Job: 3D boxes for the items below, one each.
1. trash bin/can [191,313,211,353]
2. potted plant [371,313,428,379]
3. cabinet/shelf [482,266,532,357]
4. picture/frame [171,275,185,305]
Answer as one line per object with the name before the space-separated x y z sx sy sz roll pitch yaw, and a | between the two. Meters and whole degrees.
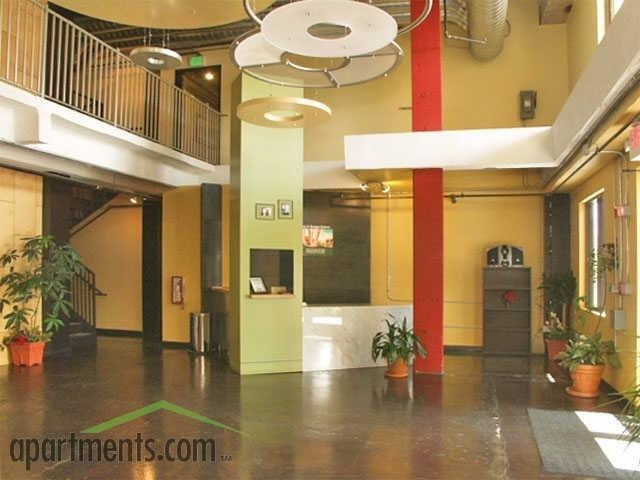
trash bin/can | -2.606 2.006 11.766 0.406 0.800 0.350 0 2 -10
potted plant | 1.324 1.879 9.760 0.981 0.944 0.964 -2 1 -36
cabinet/shelf | 3.855 1.450 11.283 0.949 1.699 0.588 -1 -1 20
picture/frame | -3.323 1.166 12.640 0.362 0.677 0.183 2 2 44
